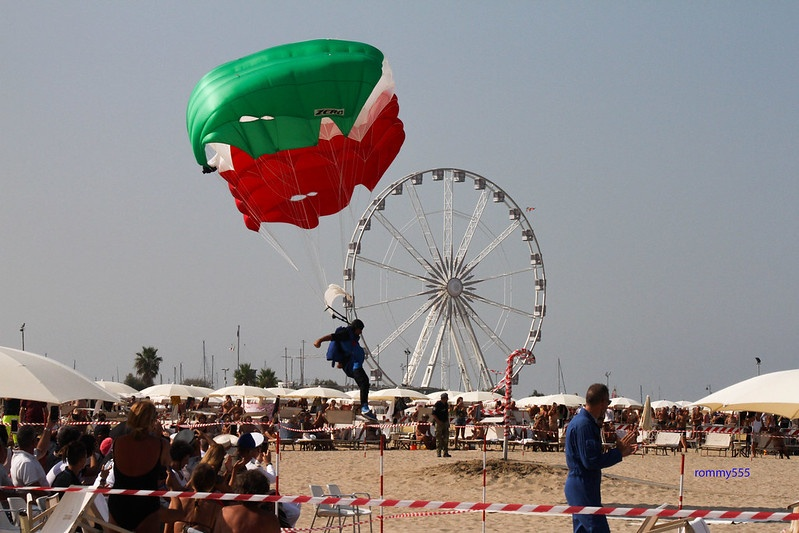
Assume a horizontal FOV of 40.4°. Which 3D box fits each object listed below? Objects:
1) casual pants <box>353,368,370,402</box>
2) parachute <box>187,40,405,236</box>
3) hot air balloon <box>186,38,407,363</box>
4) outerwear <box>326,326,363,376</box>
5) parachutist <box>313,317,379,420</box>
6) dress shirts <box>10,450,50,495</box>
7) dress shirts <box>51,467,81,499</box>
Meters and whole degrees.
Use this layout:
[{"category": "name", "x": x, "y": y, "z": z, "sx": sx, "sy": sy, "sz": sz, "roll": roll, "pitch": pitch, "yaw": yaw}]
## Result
[{"category": "casual pants", "x": -0.793, "y": 2.588, "z": 23.492, "sx": 0.304, "sy": 0.816, "sz": 0.202, "roll": -13, "pitch": 6, "yaw": -11}, {"category": "parachute", "x": -2.222, "y": -2.911, "z": 24.450, "sx": 4.367, "sy": 2.989, "sz": 5.011, "roll": -20, "pitch": -18, "yaw": 0}, {"category": "hot air balloon", "x": -2.045, "y": -3.468, "z": 24.777, "sx": 4.856, "sy": 4.817, "sz": 4.680, "roll": 19, "pitch": -42, "yaw": -22}, {"category": "outerwear", "x": -1.075, "y": 1.781, "z": 22.796, "sx": 0.788, "sy": 1.093, "sz": 0.862, "roll": 3, "pitch": -12, "yaw": -12}, {"category": "parachutist", "x": -1.053, "y": 2.205, "z": 23.059, "sx": 0.756, "sy": 2.219, "sz": 1.810, "roll": -23, "pitch": -27, "yaw": 37}, {"category": "dress shirts", "x": -5.611, "y": 3.110, "z": 16.442, "sx": 0.424, "sy": 0.782, "sz": 0.739, "roll": -6, "pitch": 1, "yaw": -28}, {"category": "dress shirts", "x": -4.768, "y": 3.128, "z": 15.569, "sx": 0.226, "sy": 0.433, "sz": 0.322, "roll": 18, "pitch": -27, "yaw": -34}]
